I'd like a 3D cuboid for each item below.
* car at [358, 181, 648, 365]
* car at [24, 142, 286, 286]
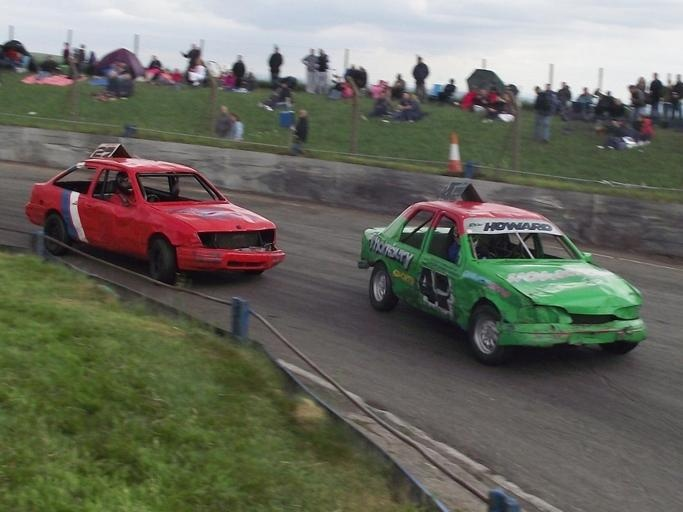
[{"bbox_3d":[1.869,0.120,8.302,1.634,1.765,2.927,-5,14,-31],"label":"car"},{"bbox_3d":[-2.950,-0.763,10.733,4.520,1.392,1.888,11,13,34],"label":"car"}]
